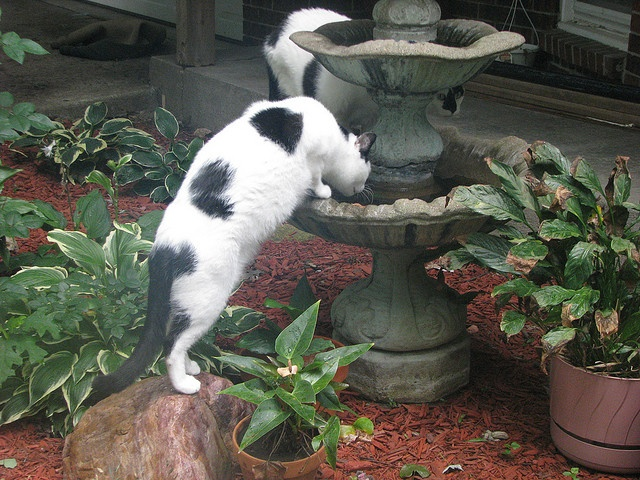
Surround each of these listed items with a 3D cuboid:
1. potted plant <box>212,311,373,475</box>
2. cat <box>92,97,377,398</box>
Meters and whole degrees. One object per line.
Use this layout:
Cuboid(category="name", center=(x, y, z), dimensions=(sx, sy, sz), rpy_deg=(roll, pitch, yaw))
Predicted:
Cuboid(category="potted plant", center=(-0.139, 0.840, 4.086), dimensions=(0.813, 0.719, 1.016), rpy_deg=(4, 7, 3))
Cuboid(category="cat", center=(-0.498, 0.110, 4.730), dimensions=(0.522, 1.015, 2.362), rpy_deg=(28, 69, 34))
